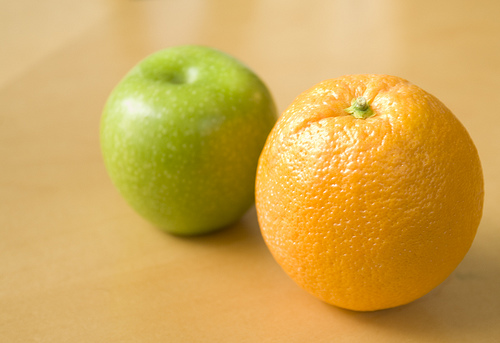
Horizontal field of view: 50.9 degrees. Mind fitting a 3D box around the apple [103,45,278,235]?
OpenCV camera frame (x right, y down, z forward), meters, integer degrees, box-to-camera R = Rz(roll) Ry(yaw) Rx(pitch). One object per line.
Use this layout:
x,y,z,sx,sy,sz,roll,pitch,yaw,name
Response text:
-0.147,-0.083,1.282,0.333,0.439,0.342,-20,31,-29,apple
